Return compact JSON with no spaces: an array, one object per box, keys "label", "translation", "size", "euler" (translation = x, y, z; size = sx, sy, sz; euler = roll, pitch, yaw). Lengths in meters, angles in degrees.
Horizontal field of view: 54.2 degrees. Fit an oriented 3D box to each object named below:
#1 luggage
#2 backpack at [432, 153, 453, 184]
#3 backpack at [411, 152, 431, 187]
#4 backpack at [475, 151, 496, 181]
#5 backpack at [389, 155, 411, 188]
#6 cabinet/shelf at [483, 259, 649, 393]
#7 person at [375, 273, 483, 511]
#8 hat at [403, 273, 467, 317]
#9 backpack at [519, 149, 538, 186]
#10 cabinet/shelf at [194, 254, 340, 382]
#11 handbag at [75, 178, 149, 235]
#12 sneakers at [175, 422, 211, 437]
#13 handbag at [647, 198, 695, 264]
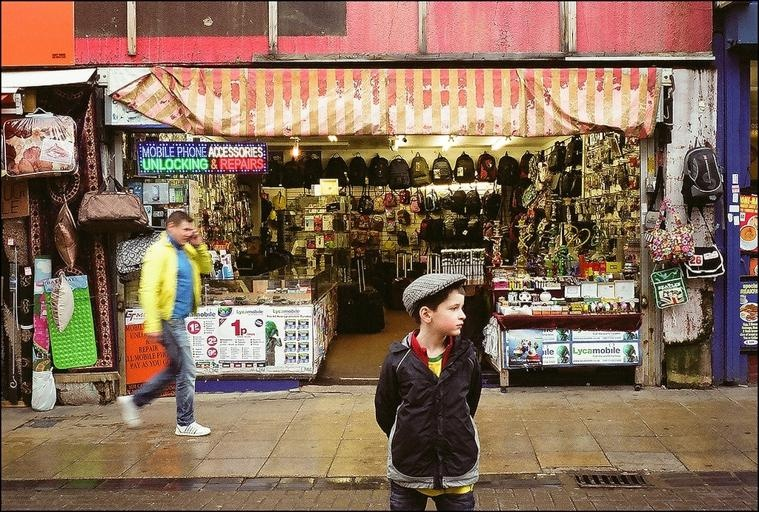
[{"label":"luggage","translation":[-0.153,0.812,14.986],"size":[1.402,1.411,1.396],"euler":[1,-8,-8]},{"label":"backpack","translation":[1.299,-1.832,15.494],"size":[0.416,0.604,0.600],"euler":[-1,-10,4]},{"label":"backpack","translation":[0.832,-1.793,15.389],"size":[0.426,0.637,0.619],"euler":[-4,-6,4]},{"label":"backpack","translation":[2.227,-1.891,15.560],"size":[0.418,0.603,0.236],"euler":[-4,3,7]},{"label":"backpack","translation":[0.384,-1.716,15.019],"size":[0.430,0.618,0.252],"euler":[-5,3,-5]},{"label":"cabinet/shelf","translation":[2.721,0.959,10.531],"size":[1.788,1.189,1.801],"euler":[-1,0,3]},{"label":"person","translation":[0.448,1.263,6.891],"size":[0.973,2.180,0.380],"euler":[-4,3,6]},{"label":"hat","translation":[0.493,0.360,6.939],"size":[0.480,0.253,0.401],"euler":[-25,-1,18]},{"label":"backpack","translation":[2.992,-1.813,15.111],"size":[0.393,0.577,0.139],"euler":[3,5,28]},{"label":"cabinet/shelf","translation":[-1.777,1.020,11.578],"size":[1.621,1.132,2.333],"euler":[0,2,3]},{"label":"handbag","translation":[-3.789,-0.621,10.705],"size":[1.140,0.989,0.541],"euler":[1,-6,-16]},{"label":"sneakers","translation":[-2.415,2.251,9.703],"size":[0.450,0.204,0.183],"euler":[0,0,-1]},{"label":"handbag","translation":[4.246,-0.372,10.804],"size":[0.864,1.146,0.377],"euler":[-3,-9,14]}]
